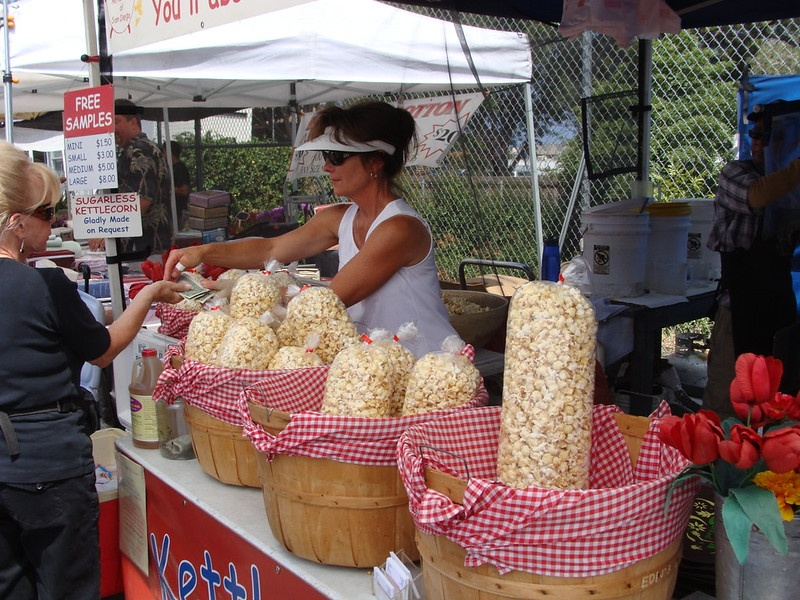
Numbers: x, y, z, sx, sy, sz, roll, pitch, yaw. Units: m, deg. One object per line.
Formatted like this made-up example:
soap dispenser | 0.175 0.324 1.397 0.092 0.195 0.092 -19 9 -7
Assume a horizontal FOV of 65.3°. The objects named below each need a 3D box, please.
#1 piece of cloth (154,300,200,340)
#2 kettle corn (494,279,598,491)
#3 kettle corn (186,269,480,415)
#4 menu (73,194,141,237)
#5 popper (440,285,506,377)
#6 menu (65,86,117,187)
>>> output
piece of cloth | -0.986 0.089 2.665 0.191 0.161 0.069 10 17 27
kettle corn | 0.312 0.180 1.399 0.185 0.454 0.182 7 -8 -21
kettle corn | -0.197 0.161 1.838 0.741 0.277 0.474 10 10 25
menu | -1.491 -0.422 3.121 0.368 0.220 0.004 -1 1 10
popper | 0.383 0.138 3.153 0.413 0.280 0.399 0 0 -18
menu | -1.531 -0.810 3.076 0.549 0.589 0.030 4 9 43
